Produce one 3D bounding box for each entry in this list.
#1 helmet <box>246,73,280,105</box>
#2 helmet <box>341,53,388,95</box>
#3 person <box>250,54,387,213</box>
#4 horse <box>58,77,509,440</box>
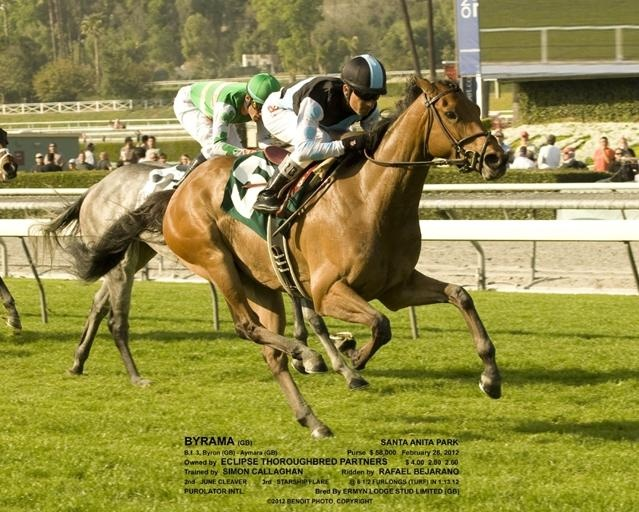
[{"bbox_3d":[-0.295,-0.899,5.746,0.181,0.174,0.102,-6,-34,-16],"label":"helmet"},{"bbox_3d":[0.200,-0.860,5.149,0.208,0.104,0.232,-16,40,-32],"label":"helmet"},{"bbox_3d":[0.028,-0.597,5.311,0.548,0.760,0.748,-20,26,-39],"label":"person"},{"bbox_3d":[-0.394,0.133,5.823,2.727,1.288,0.560,2,2,26],"label":"horse"}]
